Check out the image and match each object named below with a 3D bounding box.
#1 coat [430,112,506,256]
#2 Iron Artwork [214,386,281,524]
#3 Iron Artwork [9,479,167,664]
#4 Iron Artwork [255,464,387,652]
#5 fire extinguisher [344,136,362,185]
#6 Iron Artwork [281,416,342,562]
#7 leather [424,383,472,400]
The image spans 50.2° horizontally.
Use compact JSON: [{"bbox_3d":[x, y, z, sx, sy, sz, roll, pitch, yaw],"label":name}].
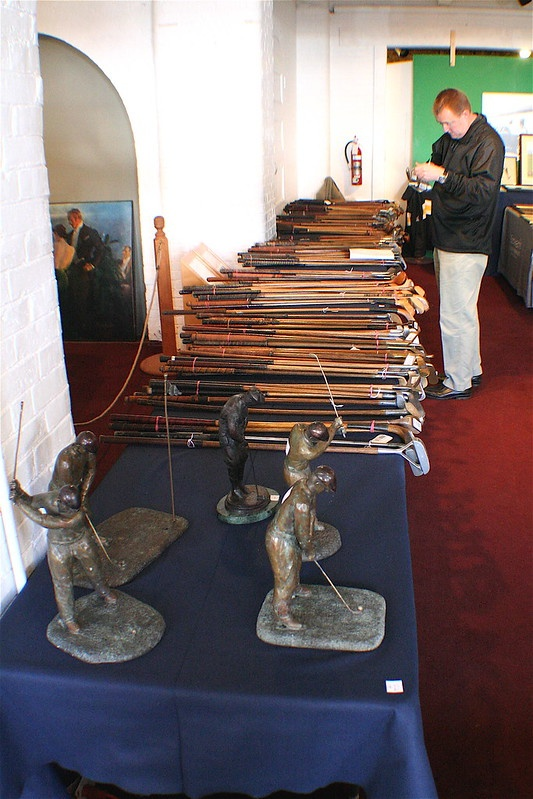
[{"bbox_3d":[1.329,-1.342,3.691,0.379,0.789,0.583,8,25,24],"label":"coat"},{"bbox_3d":[-0.056,0.179,1.730,0.158,0.375,0.217,2,29,7],"label":"Iron Artwork"},{"bbox_3d":[-0.350,0.319,1.125,0.229,0.353,0.195,6,27,14],"label":"Iron Artwork"},{"bbox_3d":[0.111,0.297,1.144,0.255,0.338,0.205,0,14,7],"label":"Iron Artwork"},{"bbox_3d":[1.245,-3.408,8.122,0.262,0.634,0.263,0,18,10],"label":"fire extinguisher"},{"bbox_3d":[0.084,0.174,1.140,0.141,0.265,0.131,-12,25,-19],"label":"Iron Artwork"},{"bbox_3d":[1.271,-0.059,4.048,0.330,0.171,0.138,4,5,3],"label":"leather"}]
